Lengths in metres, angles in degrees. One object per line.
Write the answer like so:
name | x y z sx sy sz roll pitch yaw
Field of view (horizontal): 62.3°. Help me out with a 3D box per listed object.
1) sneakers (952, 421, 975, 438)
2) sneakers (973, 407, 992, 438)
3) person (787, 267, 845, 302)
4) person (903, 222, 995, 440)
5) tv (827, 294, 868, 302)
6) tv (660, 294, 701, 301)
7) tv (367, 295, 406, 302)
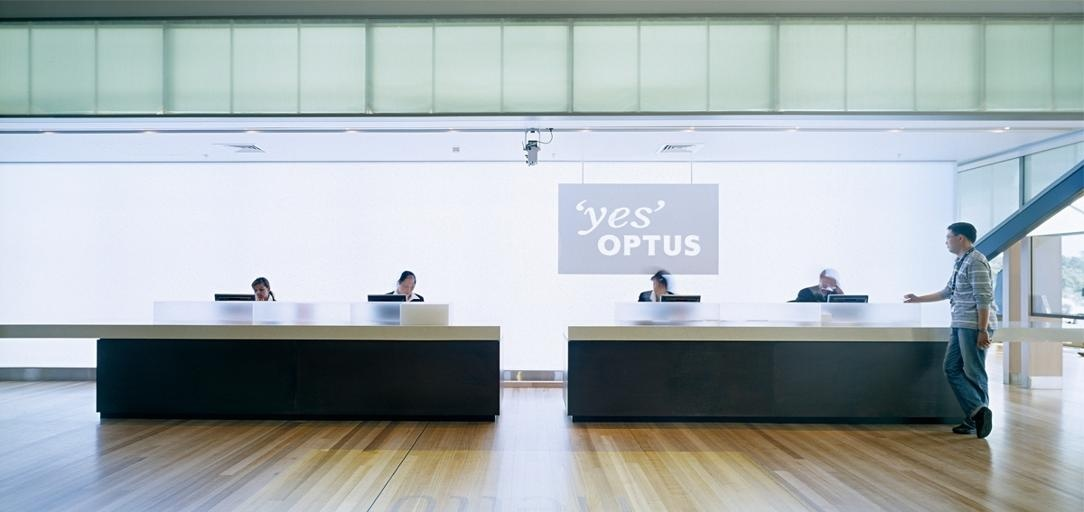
sneakers | 7.214 2.969 15.332 0.408 0.142 0.199 0 -5 16
sneakers | 7.485 2.823 15.232 0.306 0.546 0.263 -10 11 10
person | 5.205 0.627 16.869 1.058 0.383 0.695 -8 -17 -10
person | 7.270 1.264 15.351 0.772 3.652 0.424 -2 2 19
tv | 5.369 0.749 15.743 0.680 0.122 0.238 -1 1 8
tv | 2.458 0.755 15.885 0.665 0.117 0.209 -1 1 11
tv | -2.752 0.748 15.978 0.651 0.111 0.244 -2 1 -7
